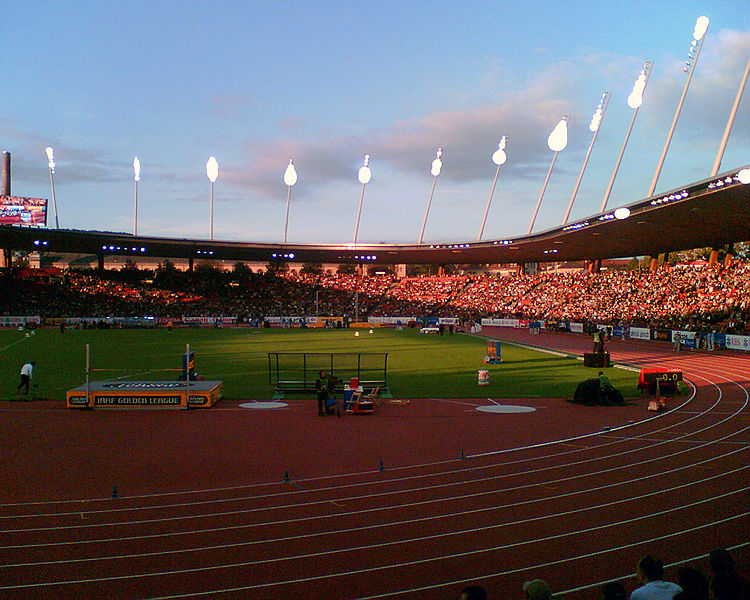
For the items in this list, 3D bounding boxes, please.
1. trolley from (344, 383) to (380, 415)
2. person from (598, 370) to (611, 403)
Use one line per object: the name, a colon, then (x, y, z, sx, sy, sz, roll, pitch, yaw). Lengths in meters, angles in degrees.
trolley: (-0.547, 3.539, 24.733, 1.384, 0.652, 0.906, 0, -5, -1)
person: (8.450, 3.230, 25.894, 0.342, 0.951, 1.117, 1, 7, 17)
